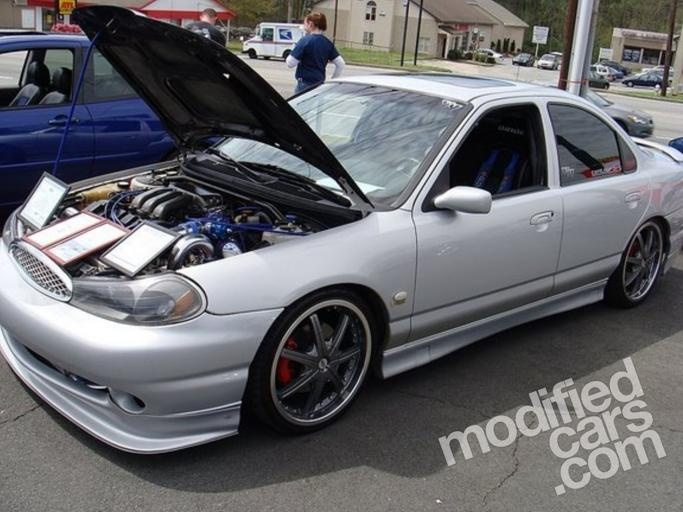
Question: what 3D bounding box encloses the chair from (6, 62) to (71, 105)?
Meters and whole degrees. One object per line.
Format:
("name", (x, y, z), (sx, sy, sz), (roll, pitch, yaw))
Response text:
("chair", (-3.324, -1.942, 5.366), (0.360, 0.565, 0.553), (32, 23, 15))
